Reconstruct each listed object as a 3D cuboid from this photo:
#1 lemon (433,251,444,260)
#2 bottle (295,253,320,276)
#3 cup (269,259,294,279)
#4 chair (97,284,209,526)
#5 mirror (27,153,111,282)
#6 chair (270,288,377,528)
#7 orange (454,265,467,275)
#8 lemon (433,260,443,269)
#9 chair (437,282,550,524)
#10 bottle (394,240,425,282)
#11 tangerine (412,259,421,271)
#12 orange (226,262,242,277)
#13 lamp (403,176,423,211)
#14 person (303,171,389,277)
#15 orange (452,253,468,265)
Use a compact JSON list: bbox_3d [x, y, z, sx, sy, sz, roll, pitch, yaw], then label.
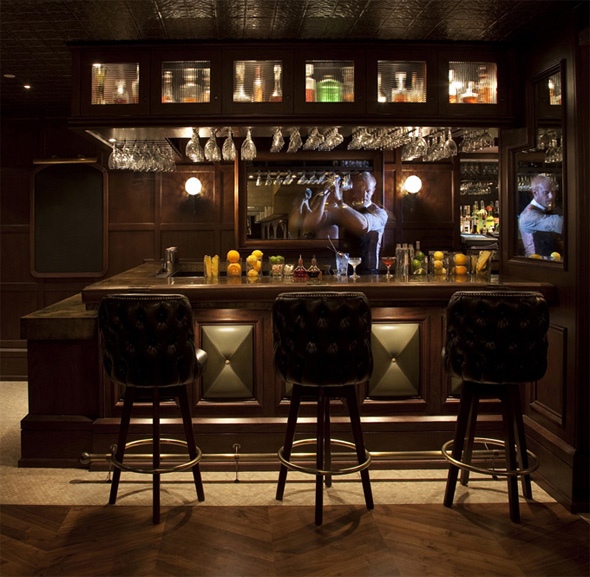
[{"bbox_3d":[1.067,-0.248,4.839,0.055,0.068,0.058,0,6,7],"label":"lemon"},{"bbox_3d":[0.103,-0.209,5.479,0.225,0.241,0.130,0,-3,-9],"label":"bottle"},{"bbox_3d":[-0.081,-0.123,4.466,0.160,0.107,0.157,0,8,0],"label":"cup"},{"bbox_3d":[-0.744,0.589,3.511,0.547,1.181,0.567,2,8,12],"label":"chair"},{"bbox_3d":[-2.518,-0.793,7.290,0.807,1.543,0.043,0,-28,-19],"label":"mirror"},{"bbox_3d":[0.138,0.592,3.483,0.521,1.181,0.555,1,8,32],"label":"chair"},{"bbox_3d":[1.206,-0.131,4.753,0.065,0.070,0.072,-1,-1,3],"label":"orange"},{"bbox_3d":[1.051,-0.171,4.792,0.051,0.060,0.057,-1,24,-1],"label":"lemon"},{"bbox_3d":[1.063,0.599,3.351,0.555,1.183,0.427,0,7,-3],"label":"chair"},{"bbox_3d":[0.839,-0.201,4.667,0.218,0.237,0.561,2,9,11],"label":"bottle"},{"bbox_3d":[0.860,-0.165,4.609,0.054,0.079,0.060,-1,6,8],"label":"tangerine"},{"bbox_3d":[-0.430,-0.130,4.597,0.088,0.107,0.100,-1,1,3],"label":"orange"},{"bbox_3d":[1.321,-1.056,7.260,0.214,0.400,0.121,1,7,4],"label":"lamp"},{"bbox_3d":[0.482,-0.659,6.639,0.713,1.410,0.735,13,-16,-38],"label":"person"},{"bbox_3d":[1.214,-0.224,4.805,0.076,0.093,0.082,-7,0,25],"label":"orange"}]
